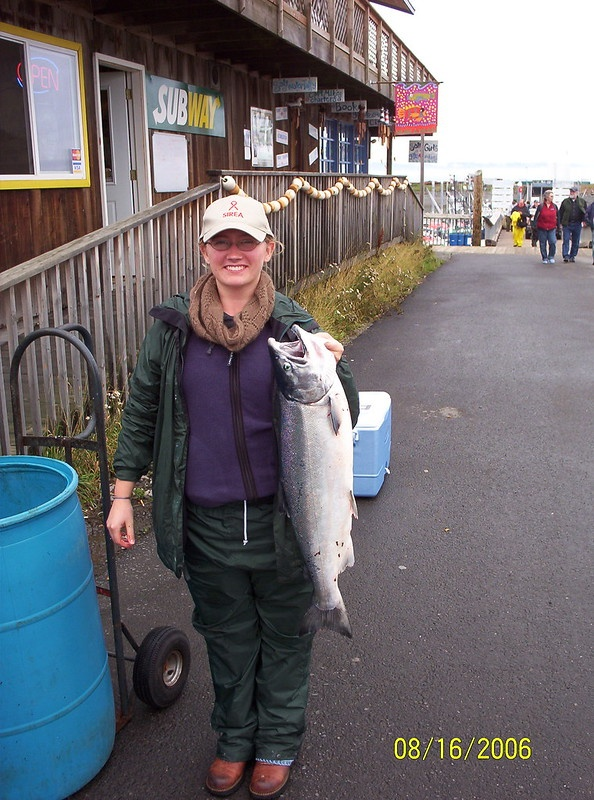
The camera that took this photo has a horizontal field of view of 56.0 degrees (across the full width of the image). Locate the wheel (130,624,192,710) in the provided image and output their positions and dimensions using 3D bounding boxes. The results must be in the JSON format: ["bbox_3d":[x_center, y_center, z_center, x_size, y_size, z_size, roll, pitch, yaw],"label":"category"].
[{"bbox_3d":[-0.513,1.018,2.123,0.086,0.354,0.271,11,8,16],"label":"wheel"}]

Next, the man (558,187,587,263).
[{"bbox_3d":[9.852,-6.133,19.992,0.770,2.424,2.260,2,8,27],"label":"man"}]

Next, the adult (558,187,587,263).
[{"bbox_3d":[9.855,-6.130,19.976,0.786,2.424,2.233,2,8,28],"label":"adult"}]

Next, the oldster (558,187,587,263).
[{"bbox_3d":[9.859,-6.131,19.981,0.789,2.424,2.246,2,8,28],"label":"oldster"}]

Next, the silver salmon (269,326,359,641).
[{"bbox_3d":[0.051,0.243,1.445,0.294,0.865,0.261,-3,6,-18],"label":"silver salmon"}]

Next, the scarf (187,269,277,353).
[{"bbox_3d":[-0.185,-0.250,1.569,0.239,0.219,0.234,-1,7,-1],"label":"scarf"}]

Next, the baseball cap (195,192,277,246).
[{"bbox_3d":[-0.167,-0.509,1.570,0.214,0.149,0.203,-3,8,-9],"label":"baseball cap"}]

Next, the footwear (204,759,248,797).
[{"bbox_3d":[-0.224,1.149,1.715,0.050,0.075,0.142,1,-9,13],"label":"footwear"}]

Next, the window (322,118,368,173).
[{"bbox_3d":[1.757,-9.129,20.753,2.239,1.876,0.104,-8,11,-34],"label":"window"}]

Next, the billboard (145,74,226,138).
[{"bbox_3d":[-2.009,-5.353,10.337,0.015,0.816,1.763,23,28,37],"label":"billboard"}]

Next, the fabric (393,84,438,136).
[{"bbox_3d":[4.368,-10.484,20.326,1.570,2.628,0.064,1,-19,10],"label":"fabric"}]

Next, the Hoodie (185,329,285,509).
[{"bbox_3d":[-0.183,0.130,1.660,0.273,0.670,0.291,5,-27,-18],"label":"Hoodie"}]
